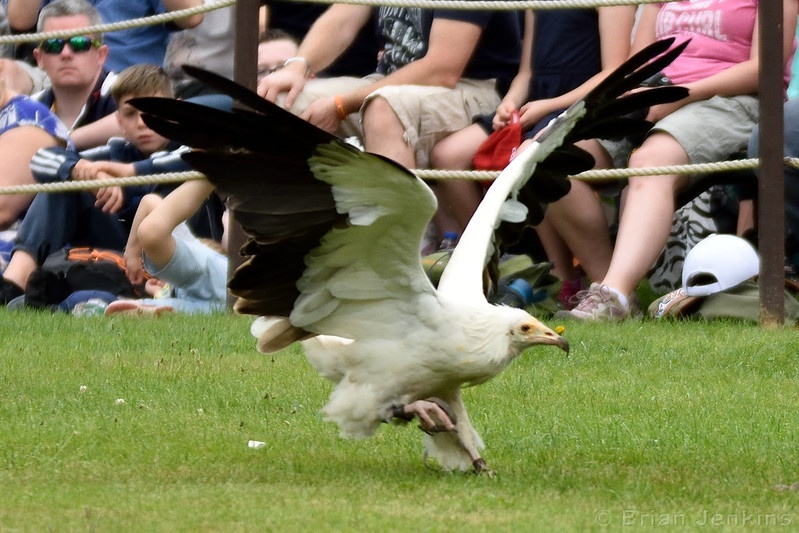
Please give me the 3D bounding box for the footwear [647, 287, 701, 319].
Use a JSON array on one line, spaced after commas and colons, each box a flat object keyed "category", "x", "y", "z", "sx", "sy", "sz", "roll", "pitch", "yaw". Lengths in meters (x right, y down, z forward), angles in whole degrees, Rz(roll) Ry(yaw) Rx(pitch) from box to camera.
[{"category": "footwear", "x": 1.674, "y": 0.228, "z": 10.930, "sx": 0.287, "sy": 0.086, "sz": 0.174, "roll": -11, "pitch": 10, "yaw": 42}]
